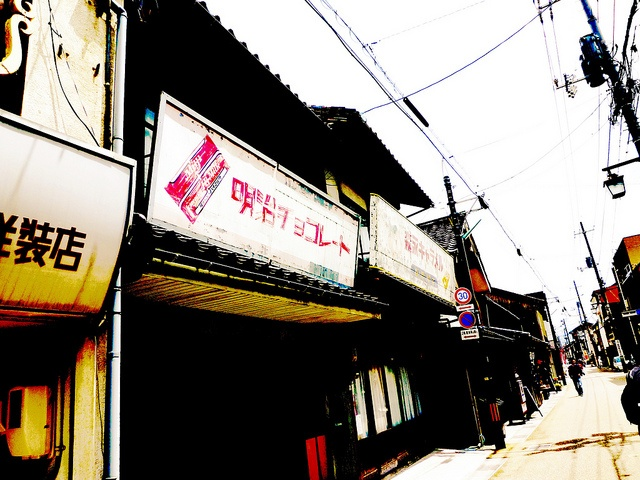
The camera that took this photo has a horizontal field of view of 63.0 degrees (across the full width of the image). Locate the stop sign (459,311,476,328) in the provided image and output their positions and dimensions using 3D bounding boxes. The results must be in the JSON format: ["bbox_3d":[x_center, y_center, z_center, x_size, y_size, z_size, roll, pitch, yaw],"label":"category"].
[{"bbox_3d":[4.327,2.360,15.422,0.419,0.470,0.401,-9,-12,14],"label":"stop sign"}]

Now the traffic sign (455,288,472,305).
[{"bbox_3d":[4.558,1.777,16.537,0.578,0.773,0.093,-1,3,32],"label":"traffic sign"}]
